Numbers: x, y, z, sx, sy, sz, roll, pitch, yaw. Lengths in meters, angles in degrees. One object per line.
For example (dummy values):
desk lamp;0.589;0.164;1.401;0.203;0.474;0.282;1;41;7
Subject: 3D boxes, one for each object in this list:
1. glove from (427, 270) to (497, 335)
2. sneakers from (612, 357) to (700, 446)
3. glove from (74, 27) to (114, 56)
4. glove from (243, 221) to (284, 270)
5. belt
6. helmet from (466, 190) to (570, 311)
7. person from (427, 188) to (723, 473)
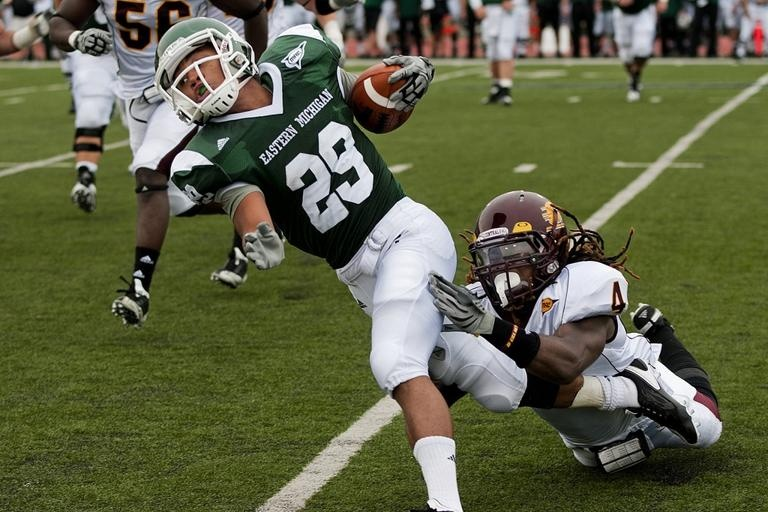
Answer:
glove;0.257;0.172;3.321;0.267;0.199;0.092;5;16;26
sneakers;1.012;0.560;3.580;0.339;0.112;0.150;43;44;10
glove;-1.493;-1.089;4.852;0.194;0.137;0.177;-6;14;-17
glove;-0.423;-0.033;3.297;0.129;0.172;0.112;-5;14;-9
belt;-0.032;-0.046;3.606;0.107;0.296;0.222;41;-2;7
helmet;0.527;-0.041;3.639;0.370;0.422;0.474;-12;2;43
person;0.738;0.299;3.840;0.971;0.924;1.711;-13;-18;42
